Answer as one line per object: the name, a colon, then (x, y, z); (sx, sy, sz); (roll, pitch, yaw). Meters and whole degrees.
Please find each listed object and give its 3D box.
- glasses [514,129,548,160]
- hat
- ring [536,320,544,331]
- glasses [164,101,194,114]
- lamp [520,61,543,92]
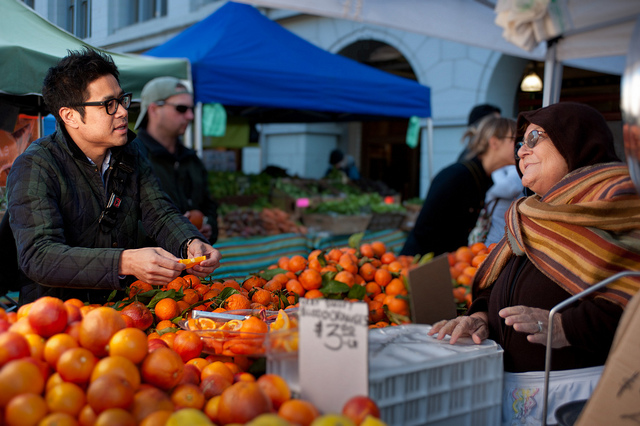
glasses: (1.190, -0.391, 2.877); (0.124, 0.043, 0.125); (25, -7, -10)
hat: (-1.550, -1.089, 4.983); (0.478, 0.368, 0.348); (-25, 16, 0)
ring: (1.082, 0.567, 2.519); (0.023, 0.044, 0.034); (8, 10, 43)
glasses: (-1.333, -1.018, 4.914); (0.148, 0.046, 0.145); (27, 19, 29)
lamp: (3.643, -2.310, 8.821); (0.344, 0.415, 0.277); (4, 7, 17)
